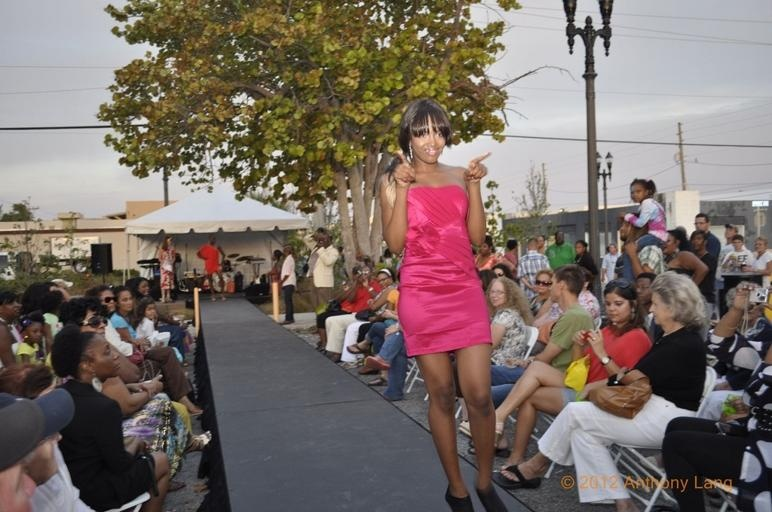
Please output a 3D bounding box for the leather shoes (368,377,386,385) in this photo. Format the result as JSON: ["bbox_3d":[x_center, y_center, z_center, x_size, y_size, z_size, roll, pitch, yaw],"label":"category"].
[{"bbox_3d":[-0.135,1.931,10.122,0.306,0.115,0.113,4,-6,-19],"label":"leather shoes"}]

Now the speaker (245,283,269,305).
[{"bbox_3d":[-4.069,1.208,20.603,0.701,0.510,0.587,-1,0,-10],"label":"speaker"}]

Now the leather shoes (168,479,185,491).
[{"bbox_3d":[-2.254,2.455,7.045,0.191,0.102,0.079,0,-6,-30],"label":"leather shoes"}]

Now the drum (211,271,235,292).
[{"bbox_3d":[-5.659,0.963,22.941,0.714,0.933,0.364,-1,-8,-5],"label":"drum"}]

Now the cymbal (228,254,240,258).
[{"bbox_3d":[-5.631,0.002,24.234,0.383,0.143,0.333,1,10,24],"label":"cymbal"}]

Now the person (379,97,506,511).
[{"bbox_3d":[0.460,0.345,4.950,0.738,3.022,0.993,-9,11,-29],"label":"person"}]

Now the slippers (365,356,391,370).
[{"bbox_3d":[-0.119,1.548,9.617,0.344,0.205,0.114,3,37,40],"label":"slippers"}]

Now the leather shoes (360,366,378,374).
[{"bbox_3d":[-0.298,1.876,10.647,0.314,0.118,0.174,5,-3,-16],"label":"leather shoes"}]

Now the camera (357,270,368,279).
[{"bbox_3d":[-0.423,0.343,11.897,0.112,0.077,0.151,2,-26,-3],"label":"camera"}]

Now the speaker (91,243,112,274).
[{"bbox_3d":[-7.998,0.122,18.349,0.534,0.930,0.651,-8,11,-24],"label":"speaker"}]

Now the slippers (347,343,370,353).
[{"bbox_3d":[-0.472,1.528,10.871,0.386,0.162,0.160,0,-9,38],"label":"slippers"}]
